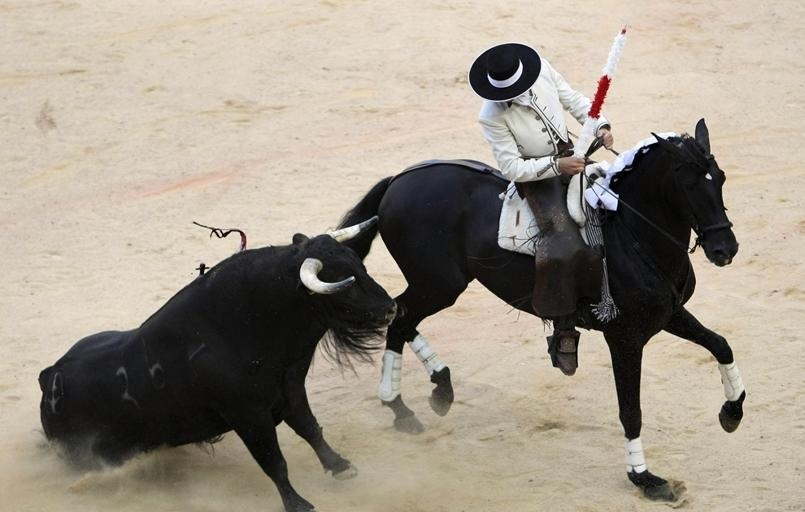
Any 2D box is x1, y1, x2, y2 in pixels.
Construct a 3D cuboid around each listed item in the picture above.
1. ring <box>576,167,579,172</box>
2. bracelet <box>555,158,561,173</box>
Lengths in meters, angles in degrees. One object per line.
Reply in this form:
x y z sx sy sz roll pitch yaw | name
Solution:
2.215 -1.092 15.318 0.026 0.060 0.057 14 34 39 | ring
1.972 -1.142 15.349 0.057 0.118 0.082 3 16 -4 | bracelet
